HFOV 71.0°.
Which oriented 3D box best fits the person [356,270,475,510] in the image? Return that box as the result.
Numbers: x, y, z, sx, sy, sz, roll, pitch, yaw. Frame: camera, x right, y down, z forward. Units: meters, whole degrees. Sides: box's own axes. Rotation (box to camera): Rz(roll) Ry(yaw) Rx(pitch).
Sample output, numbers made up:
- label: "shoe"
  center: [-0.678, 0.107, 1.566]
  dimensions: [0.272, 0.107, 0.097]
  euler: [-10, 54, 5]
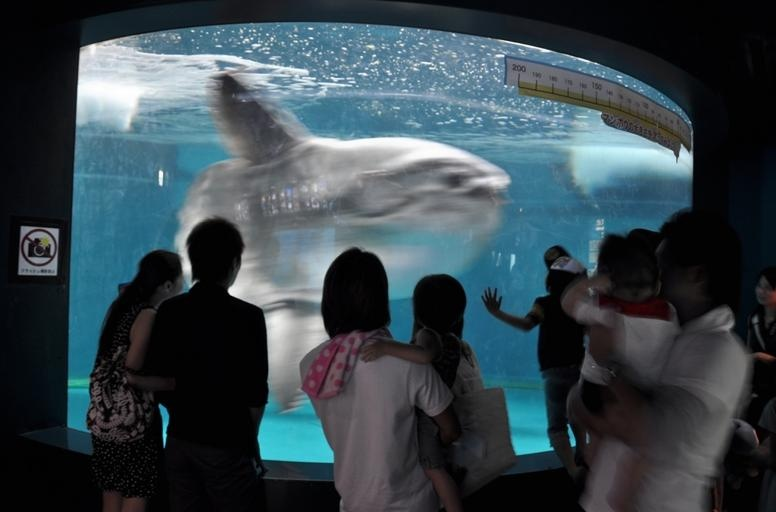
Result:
- label: "person"
  center: [0.230, 0.848, 3.806]
  dimensions: [0.750, 1.603, 0.765]
  euler: [2, 11, -8]

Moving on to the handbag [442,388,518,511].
- label: "handbag"
  center: [0.627, 1.294, 3.906]
  dimensions: [0.536, 0.749, 0.435]
  euler: [1, 12, -20]

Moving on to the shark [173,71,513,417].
- label: "shark"
  center: [-0.738, -0.179, 10.955]
  dimensions: [5.689, 4.887, 4.596]
  euler: [-9, -5, -18]

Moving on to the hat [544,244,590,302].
- label: "hat"
  center: [1.629, 0.119, 5.352]
  dimensions: [0.566, 0.600, 0.472]
  euler: [1, 22, 3]

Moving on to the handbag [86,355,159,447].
- label: "handbag"
  center: [-2.113, 1.053, 4.332]
  dimensions: [0.480, 0.673, 0.459]
  euler: [-4, 12, -24]

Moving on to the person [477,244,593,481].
- label: "person"
  center: [1.440, 0.971, 5.194]
  dimensions: [1.043, 1.842, 0.943]
  euler: [16, 17, 17]
